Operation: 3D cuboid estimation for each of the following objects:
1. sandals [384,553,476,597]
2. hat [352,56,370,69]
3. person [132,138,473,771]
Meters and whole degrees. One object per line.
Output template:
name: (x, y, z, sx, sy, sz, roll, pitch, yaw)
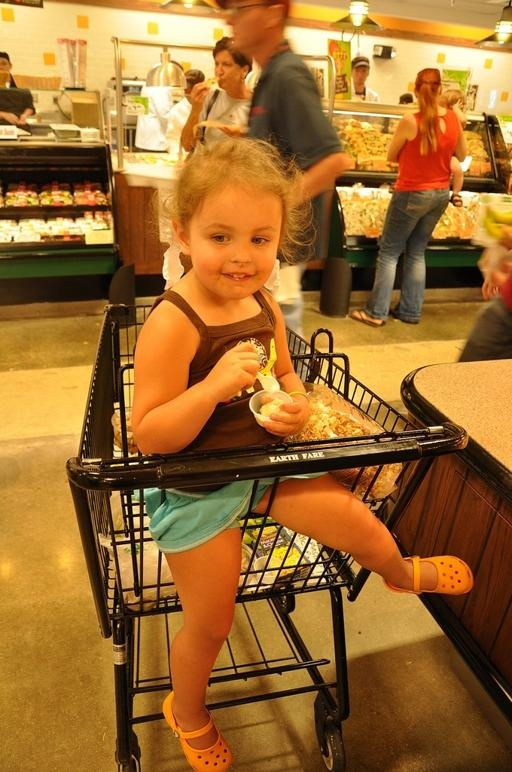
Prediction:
sandals: (0.315, 0.348, 1.010, 0.154, 0.077, 0.038, -1, -3, -2)
hat: (1.262, -3.921, 6.709, 0.192, 0.162, 0.291, 3, 22, 1)
person: (0.032, 0.219, 1.030, 0.494, 1.239, 0.462, -3, 22, -14)
